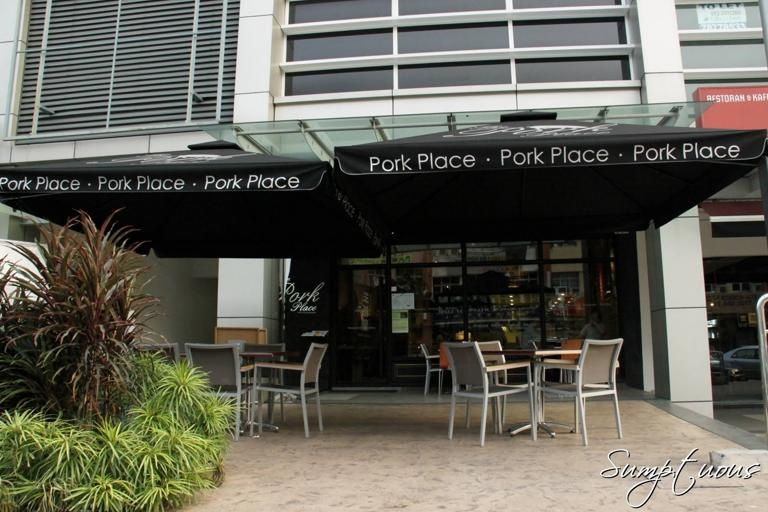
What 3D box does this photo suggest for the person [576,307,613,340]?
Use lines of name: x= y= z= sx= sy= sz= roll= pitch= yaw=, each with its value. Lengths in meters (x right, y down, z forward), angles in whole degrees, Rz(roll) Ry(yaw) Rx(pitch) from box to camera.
person: x=4.214 y=1.340 z=12.573 sx=0.587 sy=0.654 sz=1.076 roll=-4 pitch=-8 yaw=22
